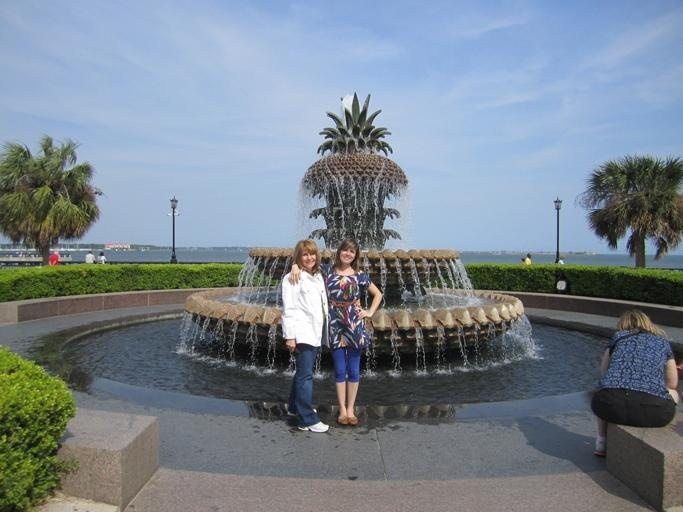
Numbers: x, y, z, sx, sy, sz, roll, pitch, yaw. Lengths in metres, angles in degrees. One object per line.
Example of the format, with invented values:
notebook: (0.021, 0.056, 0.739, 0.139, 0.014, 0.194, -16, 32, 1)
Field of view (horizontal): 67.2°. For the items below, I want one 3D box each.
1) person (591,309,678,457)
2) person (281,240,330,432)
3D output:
person: (2.934, 1.222, 5.132, 0.706, 1.297, 0.747, 0, 2, 36)
person: (-0.422, 0.915, 6.095, 0.520, 2.215, 0.498, -1, 1, -2)
